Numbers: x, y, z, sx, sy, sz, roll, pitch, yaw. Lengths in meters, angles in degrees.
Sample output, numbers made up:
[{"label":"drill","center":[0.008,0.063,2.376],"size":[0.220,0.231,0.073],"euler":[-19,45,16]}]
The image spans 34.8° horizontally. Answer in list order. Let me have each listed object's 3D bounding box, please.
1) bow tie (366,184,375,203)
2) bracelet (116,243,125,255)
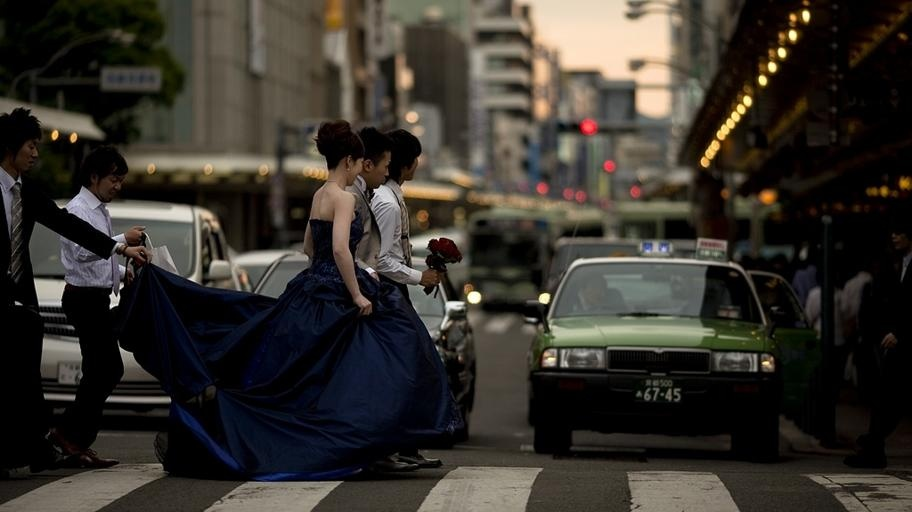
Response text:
[{"label":"bow tie","center":[-1.128,-0.829,19.079],"size":[0.058,0.159,0.148],"euler":[-7,-43,1]},{"label":"bracelet","center":[-4.420,-0.115,18.886],"size":[0.050,0.143,0.131],"euler":[27,-5,33]}]
